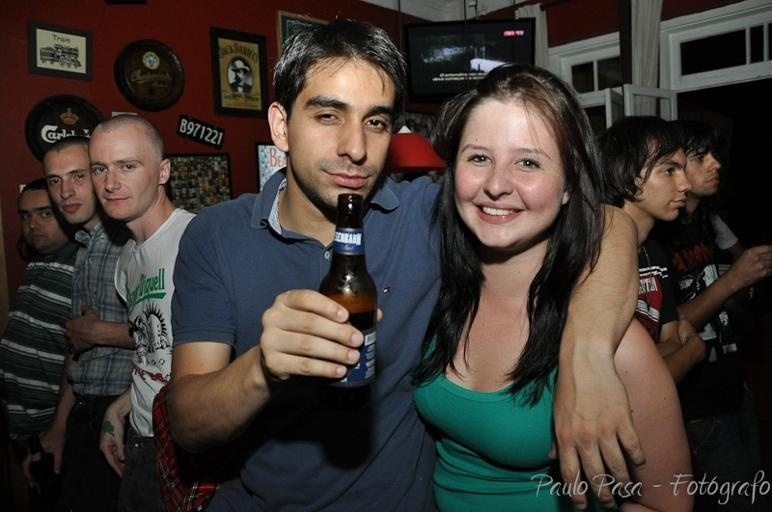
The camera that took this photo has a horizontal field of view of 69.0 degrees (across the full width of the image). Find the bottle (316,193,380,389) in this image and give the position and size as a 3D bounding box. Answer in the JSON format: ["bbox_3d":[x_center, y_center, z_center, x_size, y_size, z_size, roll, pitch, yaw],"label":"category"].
[{"bbox_3d":[-0.130,0.136,2.269,0.265,0.766,0.248,-1,8,0],"label":"bottle"}]
